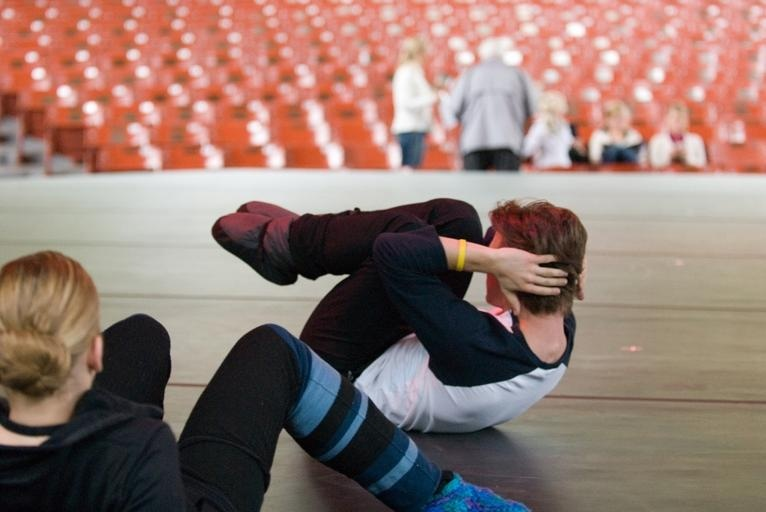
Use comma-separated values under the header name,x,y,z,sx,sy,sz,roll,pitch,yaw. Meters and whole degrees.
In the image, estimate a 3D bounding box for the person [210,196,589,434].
name,x,y,z,sx,sy,sz,roll,pitch,yaw
person,0.088,0.085,2.275,0.868,0.529,0.525,29,8,37

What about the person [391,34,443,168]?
name,x,y,z,sx,sy,sz,roll,pitch,yaw
person,0.190,-0.930,4.874,0.257,0.807,0.369,1,14,0
